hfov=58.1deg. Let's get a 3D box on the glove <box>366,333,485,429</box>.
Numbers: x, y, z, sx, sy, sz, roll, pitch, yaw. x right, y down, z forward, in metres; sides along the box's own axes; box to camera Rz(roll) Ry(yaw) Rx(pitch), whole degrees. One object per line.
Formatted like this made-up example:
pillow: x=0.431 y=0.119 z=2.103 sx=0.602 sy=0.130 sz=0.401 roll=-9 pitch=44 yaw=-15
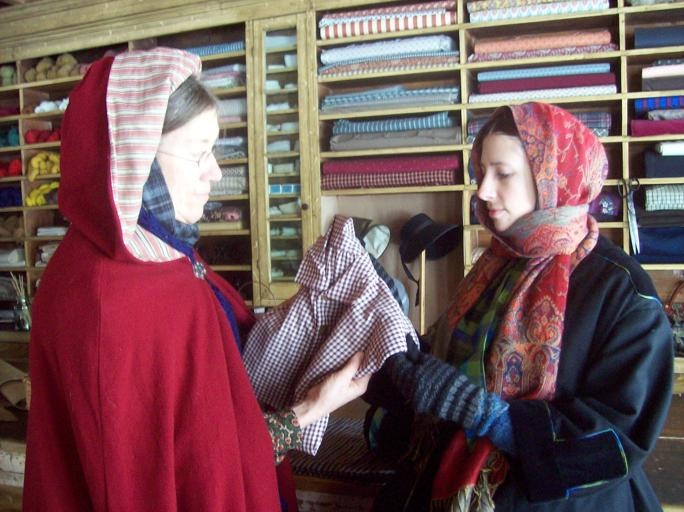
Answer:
glove: x=0.304 y=0.462 z=1.923 sx=0.205 sy=0.166 sz=0.469 roll=38 pitch=-48 yaw=-24
